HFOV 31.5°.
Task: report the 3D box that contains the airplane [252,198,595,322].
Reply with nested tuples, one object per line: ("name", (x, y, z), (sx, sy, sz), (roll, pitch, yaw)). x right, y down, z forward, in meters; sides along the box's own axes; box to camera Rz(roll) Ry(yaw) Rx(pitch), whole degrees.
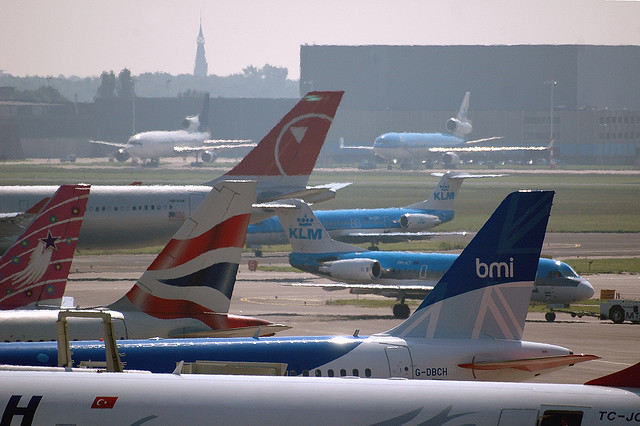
("airplane", (7.077, 3.299, 76.014), (21.981, 6.022, 19.055), (4, 18, 21))

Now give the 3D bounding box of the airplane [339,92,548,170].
("airplane", (16.757, -13.401, 177.651), (38.477, 12.900, 33.282), (2, 3, 30))

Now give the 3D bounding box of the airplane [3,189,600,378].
("airplane", (1.561, 3.211, 61.555), (37.320, 9.934, 24.563), (0, 5, -22))
